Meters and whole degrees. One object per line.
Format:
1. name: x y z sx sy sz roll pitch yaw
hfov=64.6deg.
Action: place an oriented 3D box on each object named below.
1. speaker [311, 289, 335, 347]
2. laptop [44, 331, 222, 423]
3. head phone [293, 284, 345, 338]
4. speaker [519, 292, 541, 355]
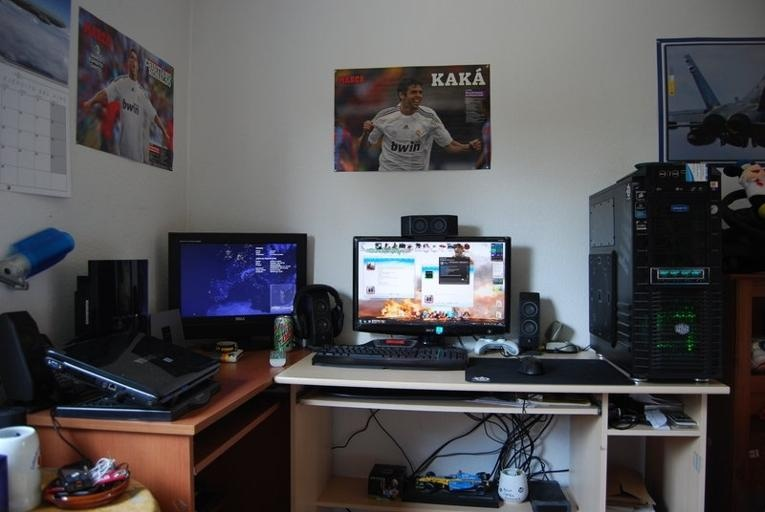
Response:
1. speaker: -0.310 0.335 3.145 0.184 0.241 0.238 0 -6 -12
2. laptop: -0.995 0.476 2.453 0.410 0.174 0.378 3 2 2
3. head phone: -0.340 0.293 3.159 0.273 0.324 0.153 1 -5 -18
4. speaker: 0.753 0.344 3.122 0.109 0.306 0.089 0 1 10
